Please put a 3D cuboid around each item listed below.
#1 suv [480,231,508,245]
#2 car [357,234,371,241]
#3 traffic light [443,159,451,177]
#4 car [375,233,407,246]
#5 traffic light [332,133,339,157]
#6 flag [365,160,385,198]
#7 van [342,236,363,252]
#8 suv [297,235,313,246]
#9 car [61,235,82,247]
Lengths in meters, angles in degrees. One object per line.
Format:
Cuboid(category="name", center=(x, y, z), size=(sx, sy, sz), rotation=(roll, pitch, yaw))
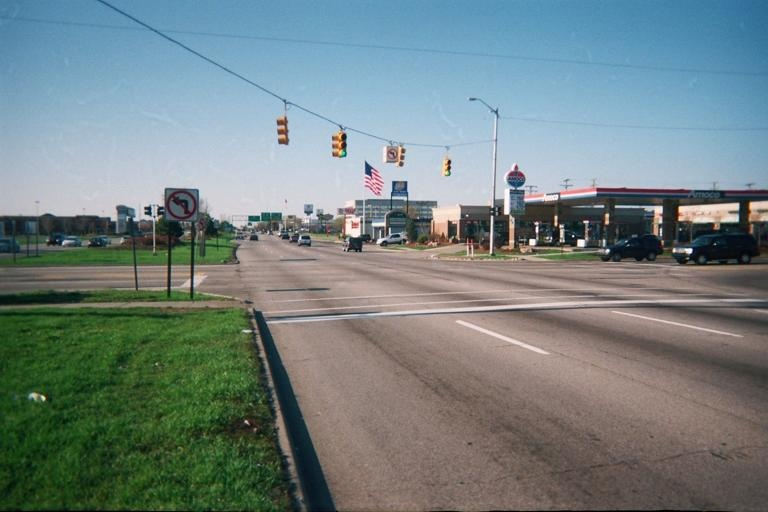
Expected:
Cuboid(category="suv", center=(13.078, -2.127, 73.781), size=(2.474, 1.594, 2.614), rotation=(0, 1, 7))
Cuboid(category="car", center=(-2.809, -2.884, 95.928), size=(2.052, 1.144, 1.329), rotation=(4, -3, -24))
Cuboid(category="traffic light", center=(3.527, -4.955, 34.720), size=(0.259, 0.922, 0.501), rotation=(0, 10, 13))
Cuboid(category="car", center=(1.171, -2.290, 80.830), size=(2.978, 1.561, 1.876), rotation=(2, -1, -9))
Cuboid(category="traffic light", center=(-2.051, -4.674, 26.577), size=(0.223, 0.852, 0.514), rotation=(-4, 10, -14))
Cuboid(category="flag", center=(-1.107, -8.395, 68.943), size=(1.582, 3.511, 5.201), rotation=(-3, 10, -4))
Cuboid(category="van", center=(-3.080, -1.098, 62.175), size=(1.212, 1.003, 1.912), rotation=(0, 6, -15))
Cuboid(category="suv", center=(-10.349, -1.964, 81.439), size=(1.548, 1.334, 2.690), rotation=(0, 11, -13))
Cuboid(category="car", center=(-34.661, -1.828, 69.654), size=(1.674, 1.352, 2.771), rotation=(0, -6, -11))
